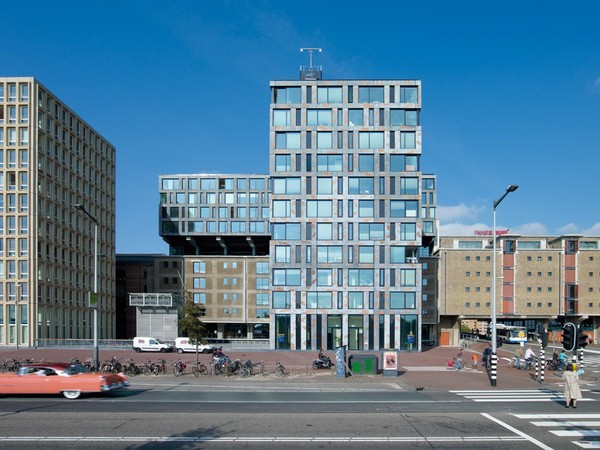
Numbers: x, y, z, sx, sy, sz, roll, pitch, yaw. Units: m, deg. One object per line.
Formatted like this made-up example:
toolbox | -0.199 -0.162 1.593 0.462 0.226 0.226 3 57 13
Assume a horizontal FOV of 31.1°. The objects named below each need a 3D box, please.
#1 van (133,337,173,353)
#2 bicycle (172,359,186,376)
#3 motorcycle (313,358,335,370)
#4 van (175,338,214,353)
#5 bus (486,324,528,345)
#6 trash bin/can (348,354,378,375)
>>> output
van | -18.004 14.372 129.902 3.600 1.383 2.046 -1 -7 -2
bicycle | -12.350 14.457 109.830 1.194 1.514 3.199 -2 -7 -6
motorcycle | 2.403 14.517 113.659 2.033 1.151 1.036 -3 -13 3
van | -12.930 14.466 129.266 4.031 1.584 2.332 -1 -7 -1
bus | 29.476 14.959 151.245 3.212 3.239 11.375 0 -9 -1
trash bin/can | 6.395 13.815 108.475 2.192 1.356 2.144 -2 -2 7
